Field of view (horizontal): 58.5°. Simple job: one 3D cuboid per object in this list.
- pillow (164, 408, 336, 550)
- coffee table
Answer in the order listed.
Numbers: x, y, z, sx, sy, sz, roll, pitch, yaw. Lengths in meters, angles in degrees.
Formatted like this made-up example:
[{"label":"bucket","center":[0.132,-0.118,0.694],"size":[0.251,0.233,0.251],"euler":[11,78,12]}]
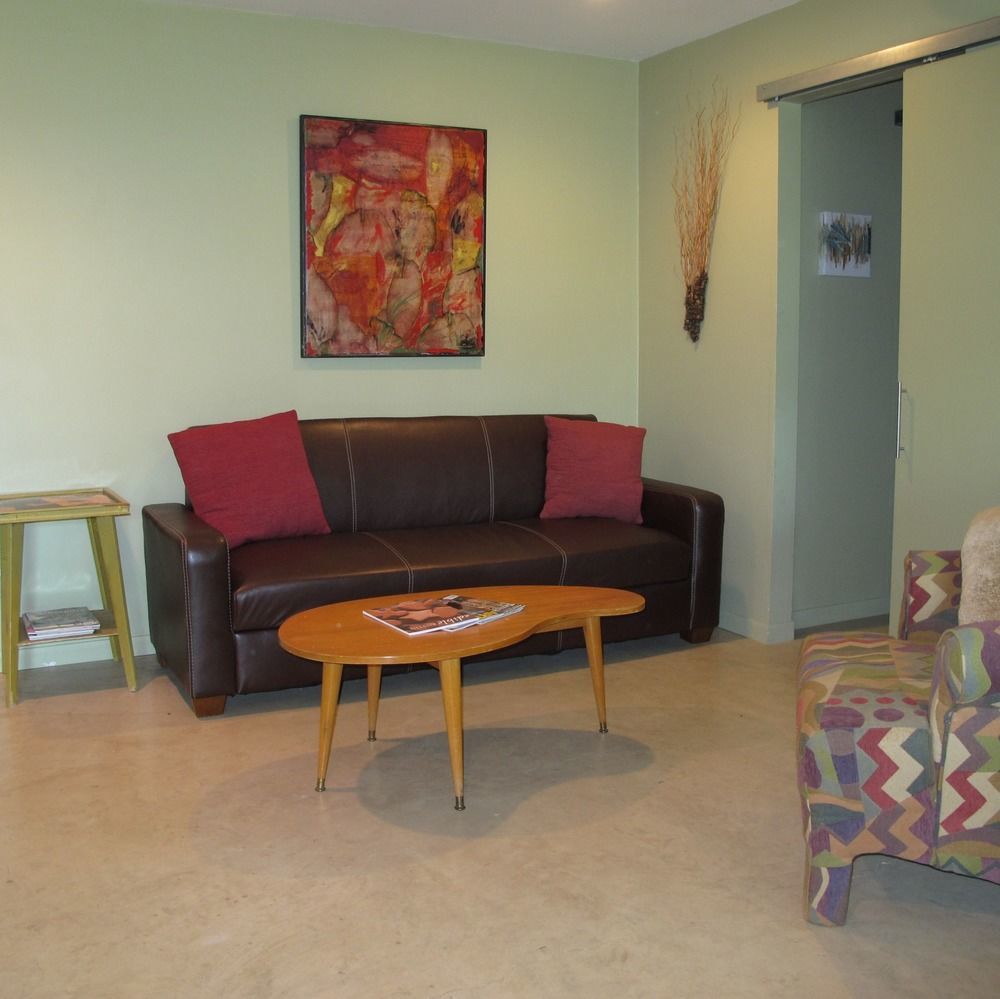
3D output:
[{"label":"pillow","center":[-0.987,-0.098,3.567],"size":[0.510,0.497,0.327],"euler":[-6,10,-41]},{"label":"coffee table","center":[-0.119,0.555,2.642],"size":[0.660,0.496,1.046],"euler":[7,9,44]}]
